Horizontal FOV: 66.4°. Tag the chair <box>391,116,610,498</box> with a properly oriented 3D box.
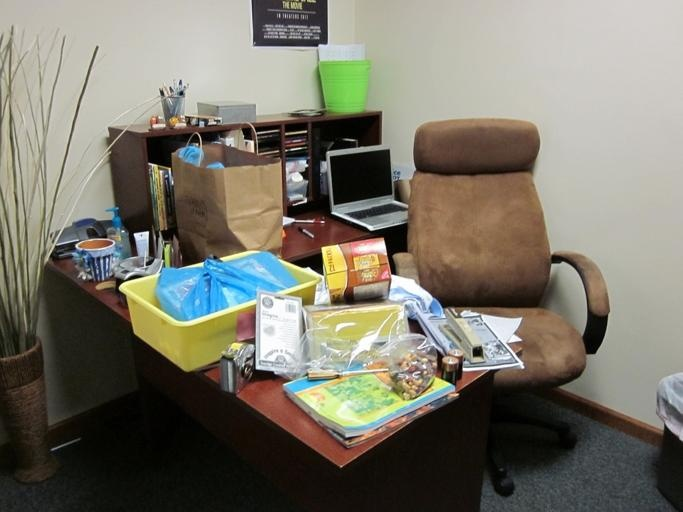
[{"bbox_3d":[0.584,0.228,2.662,0.931,1.700,1.081,1,20,2],"label":"chair"}]

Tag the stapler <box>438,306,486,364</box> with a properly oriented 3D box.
[{"bbox_3d":[0.396,0.253,1.732,0.057,0.086,0.243,4,16,-15],"label":"stapler"}]

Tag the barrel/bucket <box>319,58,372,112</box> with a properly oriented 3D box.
[{"bbox_3d":[0.019,-0.975,2.994,0.251,0.333,0.247,3,21,-1],"label":"barrel/bucket"}]

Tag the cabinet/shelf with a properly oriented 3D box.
[{"bbox_3d":[-0.495,-0.381,2.475,0.672,0.262,0.173,-18,26,-40],"label":"cabinet/shelf"}]

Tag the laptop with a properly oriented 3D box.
[{"bbox_3d":[0.128,-0.373,2.900,0.529,0.420,0.449,-17,29,-34],"label":"laptop"}]
